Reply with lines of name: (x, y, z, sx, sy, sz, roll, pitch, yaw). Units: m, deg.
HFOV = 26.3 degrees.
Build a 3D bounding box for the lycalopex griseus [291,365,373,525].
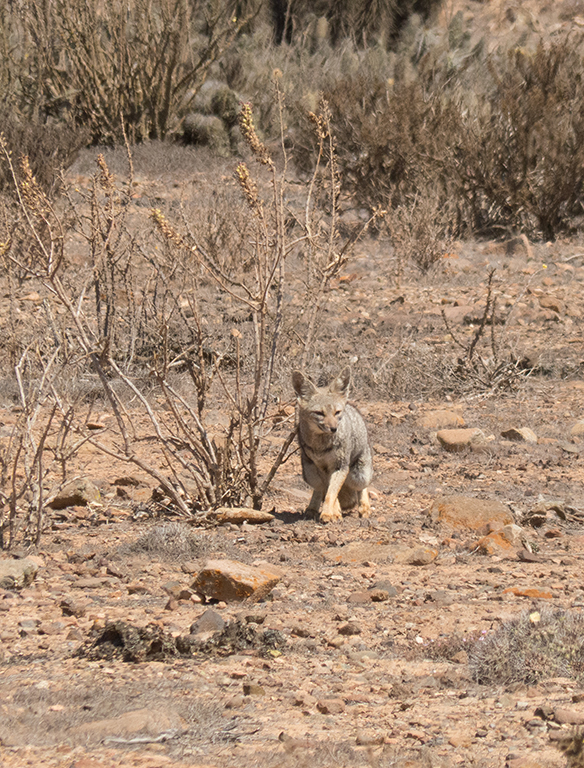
lycalopex griseus: (0.246, 0.375, 8.465, 0.494, 0.974, 0.801, 4, 11, 16)
